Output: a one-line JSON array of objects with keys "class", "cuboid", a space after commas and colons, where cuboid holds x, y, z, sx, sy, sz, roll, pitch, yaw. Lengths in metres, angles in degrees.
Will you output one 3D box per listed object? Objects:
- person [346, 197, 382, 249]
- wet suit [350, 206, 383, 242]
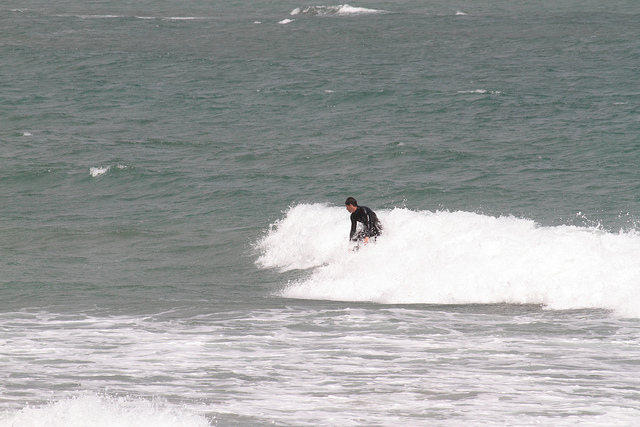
[{"class": "person", "cuboid": [1.818, 0.376, 64.868, 1.584, 2.566, 0.795, -8, 31, -18]}, {"class": "wet suit", "cuboid": [1.932, 0.473, 64.748, 1.558, 1.686, 0.564, -5, 30, -12]}]
